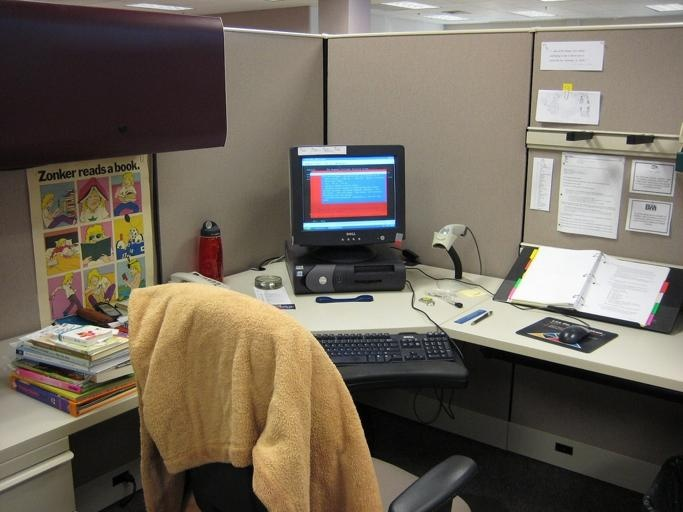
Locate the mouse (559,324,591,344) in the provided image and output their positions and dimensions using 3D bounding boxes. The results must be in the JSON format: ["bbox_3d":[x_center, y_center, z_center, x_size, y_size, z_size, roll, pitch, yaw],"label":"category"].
[{"bbox_3d":[0.807,0.263,1.832,0.148,0.043,0.058,-11,19,-30],"label":"mouse"}]

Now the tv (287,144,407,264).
[{"bbox_3d":[0.023,-0.326,2.390,0.492,0.453,0.291,-4,32,-5],"label":"tv"}]

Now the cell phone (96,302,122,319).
[{"bbox_3d":[-0.830,0.188,1.903,0.109,0.028,0.053,31,30,35],"label":"cell phone"}]

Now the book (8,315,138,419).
[{"bbox_3d":[-0.795,0.333,1.580,0.292,0.142,0.290,13,16,25],"label":"book"}]
